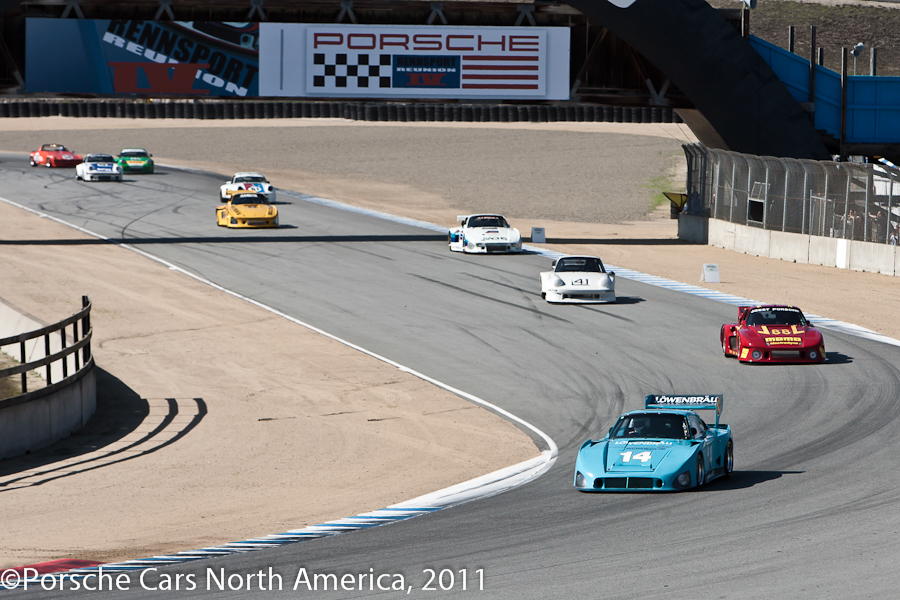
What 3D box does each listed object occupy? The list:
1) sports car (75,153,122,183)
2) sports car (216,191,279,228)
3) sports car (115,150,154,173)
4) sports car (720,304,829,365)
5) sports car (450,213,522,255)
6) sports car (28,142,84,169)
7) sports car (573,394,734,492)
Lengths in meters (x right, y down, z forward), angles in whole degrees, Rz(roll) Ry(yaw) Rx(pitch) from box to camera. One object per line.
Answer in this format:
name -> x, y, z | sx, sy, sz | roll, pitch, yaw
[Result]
sports car -> -15.586, -5.813, 95.990 | 1.944, 0.924, 3.062 | -1, 3, -15
sports car -> -7.939, -3.491, 83.785 | 2.027, 0.762, 2.825 | -1, 2, -13
sports car -> -14.597, -6.361, 100.534 | 1.594, 1.067, 1.877 | 1, 12, -9
sports car -> 9.639, 0.887, 65.943 | 2.827, 1.330, 4.084 | -3, 8, -1
sports car -> 1.015, -2.477, 77.583 | 1.975, 1.537, 4.460 | 2, -4, -26
sports car -> -18.849, -6.817, 102.581 | 1.461, 0.787, 2.644 | -3, 10, -30
sports car -> 5.424, 3.890, 58.064 | 3.768, 2.242, 7.629 | 1, 1, 20
